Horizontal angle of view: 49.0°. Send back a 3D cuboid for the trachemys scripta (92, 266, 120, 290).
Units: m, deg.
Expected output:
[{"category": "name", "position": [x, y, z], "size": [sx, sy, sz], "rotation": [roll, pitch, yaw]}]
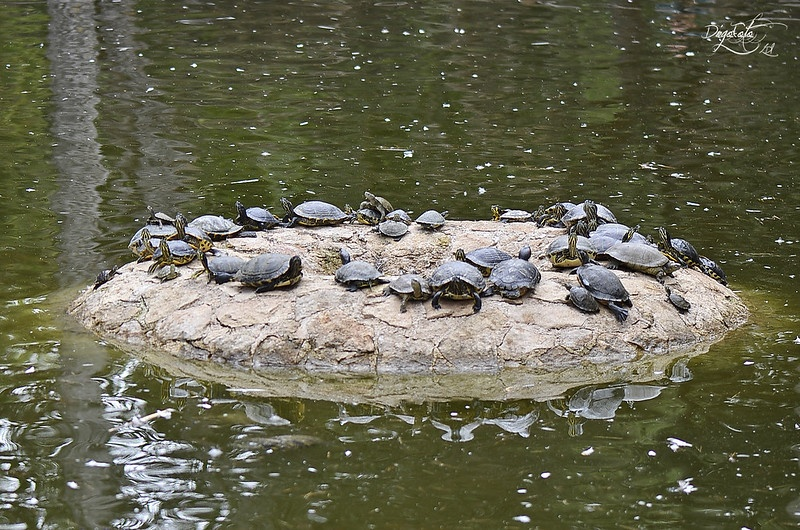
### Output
[{"category": "trachemys scripta", "position": [-5.088, 0.219, 15.203], "size": [0.587, 0.146, 0.348], "rotation": [-25, 13, 4]}]
